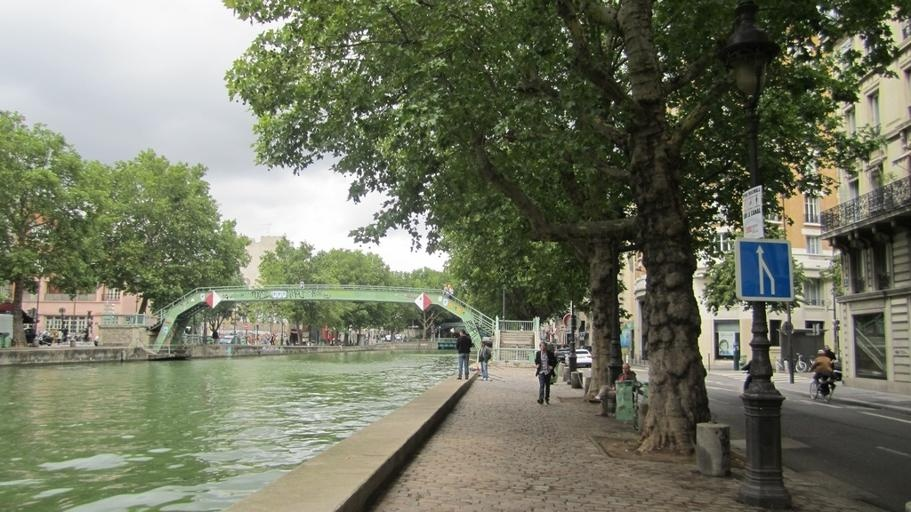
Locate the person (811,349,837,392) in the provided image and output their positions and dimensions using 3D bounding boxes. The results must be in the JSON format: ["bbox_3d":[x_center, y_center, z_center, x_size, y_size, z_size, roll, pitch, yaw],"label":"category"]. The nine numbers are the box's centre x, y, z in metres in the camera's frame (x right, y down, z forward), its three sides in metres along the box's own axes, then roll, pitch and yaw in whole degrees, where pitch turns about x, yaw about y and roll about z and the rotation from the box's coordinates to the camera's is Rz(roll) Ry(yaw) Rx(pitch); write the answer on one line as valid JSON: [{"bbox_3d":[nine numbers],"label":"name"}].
[{"bbox_3d":[17.136,5.341,35.235,0.868,2.079,1.544,-7,-12,27],"label":"person"}]
